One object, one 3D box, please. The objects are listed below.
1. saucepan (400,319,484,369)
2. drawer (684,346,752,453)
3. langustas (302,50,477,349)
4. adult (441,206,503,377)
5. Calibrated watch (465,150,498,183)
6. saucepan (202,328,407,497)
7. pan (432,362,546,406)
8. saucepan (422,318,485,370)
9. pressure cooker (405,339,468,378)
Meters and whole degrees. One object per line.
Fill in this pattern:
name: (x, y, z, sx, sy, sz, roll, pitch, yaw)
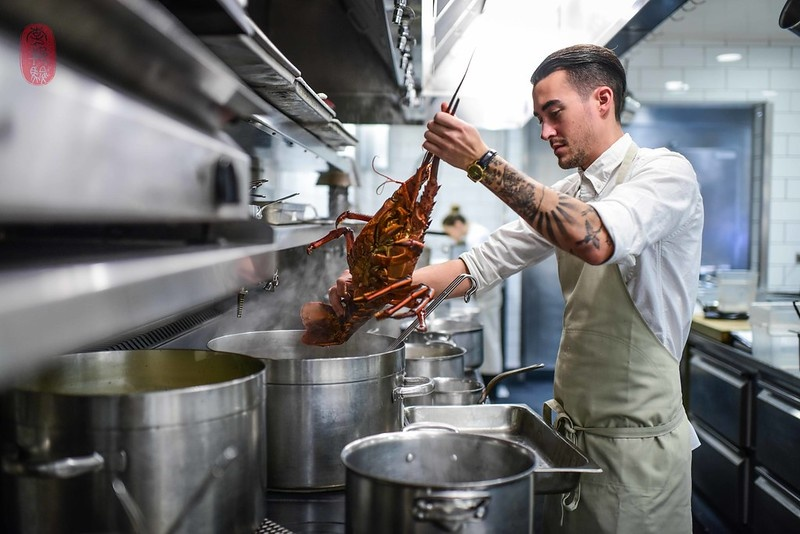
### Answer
saucepan: (0.224, 0.355, 3.025, 0.350, 0.163, 0.405, -1, 1, 10)
drawer: (1.779, 0.743, 3.410, 0.302, 0.326, 0.464, 0, 5, -2)
langustas: (-0.061, -0.038, 1.567, 0.167, 0.867, 0.434, 18, 8, -28)
adult: (0.741, 0.182, 6.020, 0.564, 1.806, 0.488, 4, 21, 25)
Calibrated watch: (0.234, -0.251, 1.636, 0.101, 0.061, 0.098, -41, -3, 13)
saucepan: (-0.129, 0.453, 1.804, 0.510, 0.361, 0.556, -5, -12, 15)
pan: (0.285, 0.428, 2.173, 0.432, 0.182, 0.181, -2, -2, 3)
saucepan: (0.281, 0.357, 3.072, 0.290, 0.204, 0.271, 0, 0, -22)
pressure cooker: (0.136, 0.372, 2.442, 0.155, 0.062, 0.161, -1, 2, -17)
